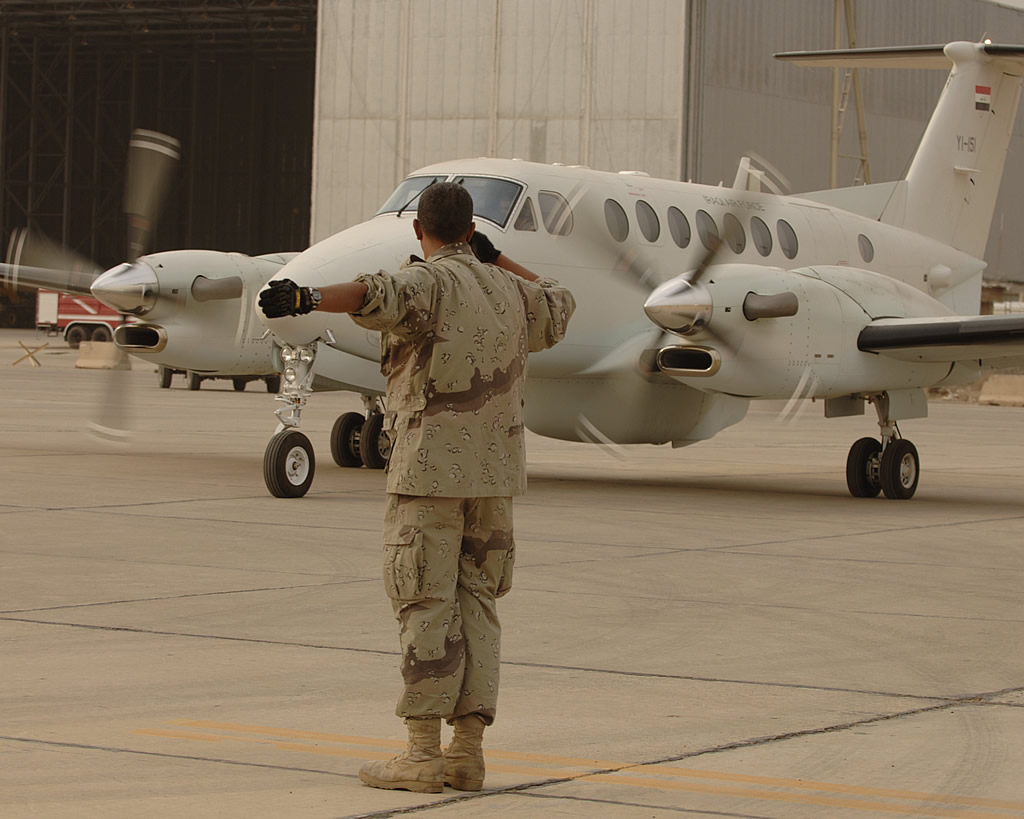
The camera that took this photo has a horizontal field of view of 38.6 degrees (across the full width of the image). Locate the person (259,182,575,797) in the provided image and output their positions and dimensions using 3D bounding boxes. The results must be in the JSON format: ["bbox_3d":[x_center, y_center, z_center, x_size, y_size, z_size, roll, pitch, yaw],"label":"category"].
[{"bbox_3d":[-0.293,0.290,5.995,0.827,2.418,1.178,11,8,36],"label":"person"}]

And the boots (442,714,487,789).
[{"bbox_3d":[-0.188,1.375,5.887,0.181,0.304,0.137,6,6,0],"label":"boots"}]

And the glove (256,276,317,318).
[{"bbox_3d":[-0.868,-0.432,5.672,0.218,0.082,0.142,-5,-26,6],"label":"glove"}]

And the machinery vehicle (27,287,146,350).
[{"bbox_3d":[-14.924,-2.925,49.542,1.913,1.735,3.420,-13,-7,36],"label":"machinery vehicle"}]

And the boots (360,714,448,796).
[{"bbox_3d":[-0.424,1.396,5.926,0.176,0.296,0.471,11,-15,-43],"label":"boots"}]

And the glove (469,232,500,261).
[{"bbox_3d":[-0.121,-0.693,6.297,0.114,0.129,0.135,-38,-2,-4],"label":"glove"}]
